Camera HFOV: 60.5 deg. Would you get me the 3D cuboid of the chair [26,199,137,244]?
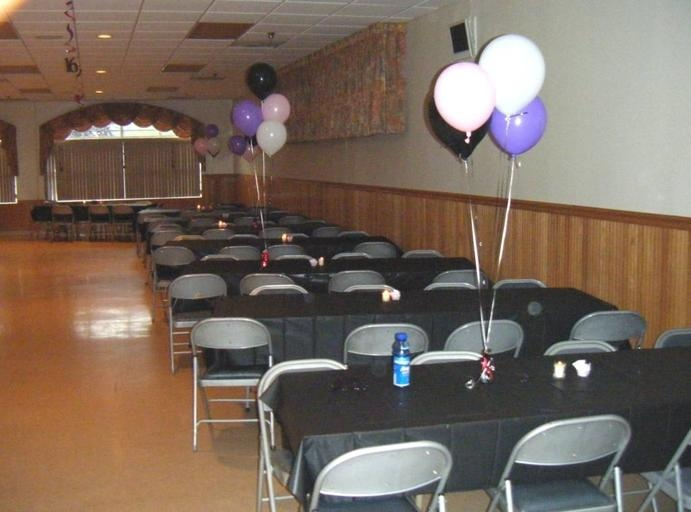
[{"bbox_3d":[-6.763,-0.895,15.393,2.823,0.912,1.158,0,11,-1],"label":"chair"}]
